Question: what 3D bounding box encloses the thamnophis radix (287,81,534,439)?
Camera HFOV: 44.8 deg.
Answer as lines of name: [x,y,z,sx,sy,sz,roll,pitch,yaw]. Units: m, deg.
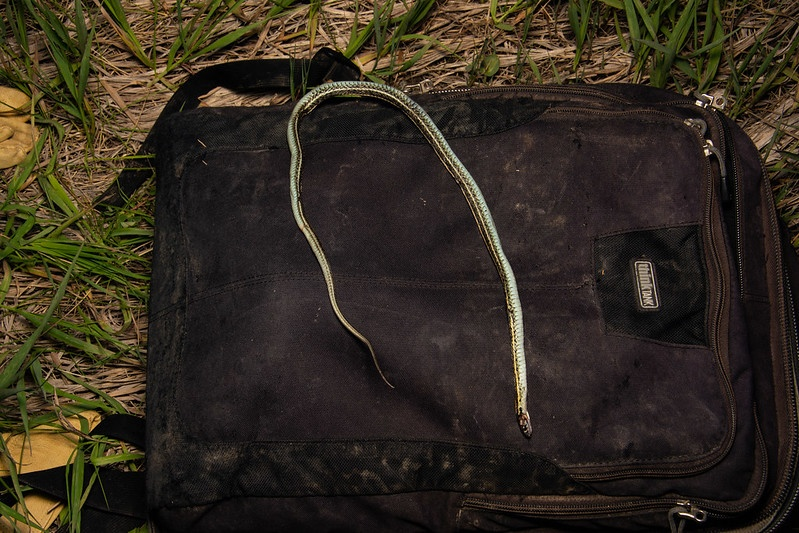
thamnophis radix: [0.246,-0.102,4.389,0.743,0.131,1.734,-25,85,-6]
